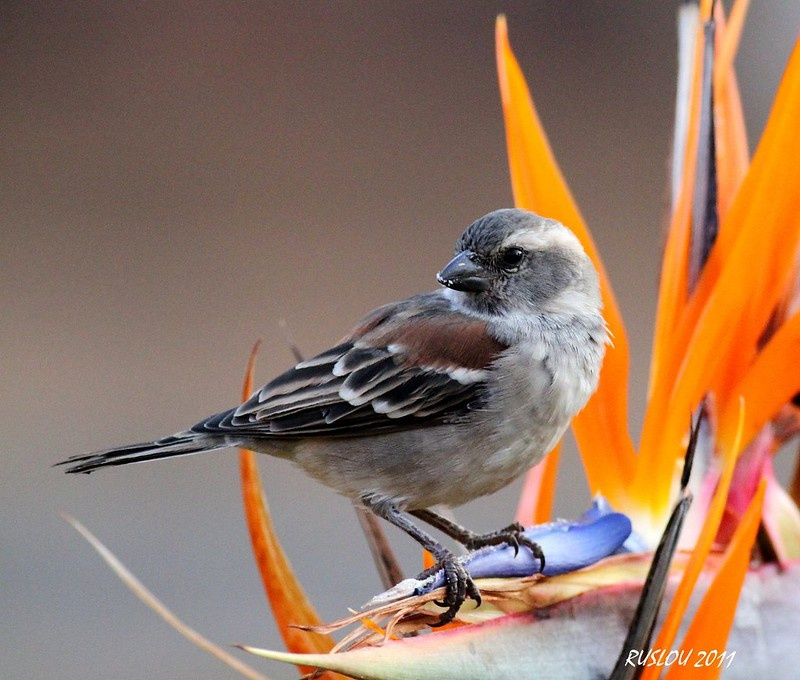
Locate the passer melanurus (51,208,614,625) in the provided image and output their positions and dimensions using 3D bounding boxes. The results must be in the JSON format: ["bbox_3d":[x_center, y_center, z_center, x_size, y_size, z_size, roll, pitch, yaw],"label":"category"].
[{"bbox_3d":[-0.265,0.136,1.973,1.329,0.657,0.394,-4,-12,8],"label":"passer melanurus"}]
